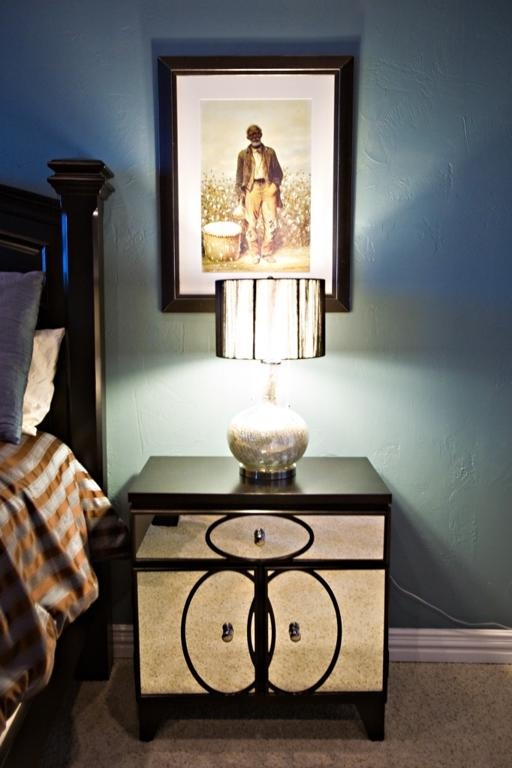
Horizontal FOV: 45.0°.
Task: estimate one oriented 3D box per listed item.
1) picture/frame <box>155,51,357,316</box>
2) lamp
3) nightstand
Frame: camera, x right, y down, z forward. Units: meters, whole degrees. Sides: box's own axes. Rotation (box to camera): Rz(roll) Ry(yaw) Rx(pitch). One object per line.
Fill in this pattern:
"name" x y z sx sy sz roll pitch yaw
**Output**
"picture/frame" -0.001 -0.580 1.817 0.504 0.791 0.059 -3 48 -3
"lamp" 0.030 -0.009 1.558 0.256 0.514 0.203 6 10 31
"nightstand" 0.008 0.485 1.769 0.730 0.889 0.538 -1 5 0
